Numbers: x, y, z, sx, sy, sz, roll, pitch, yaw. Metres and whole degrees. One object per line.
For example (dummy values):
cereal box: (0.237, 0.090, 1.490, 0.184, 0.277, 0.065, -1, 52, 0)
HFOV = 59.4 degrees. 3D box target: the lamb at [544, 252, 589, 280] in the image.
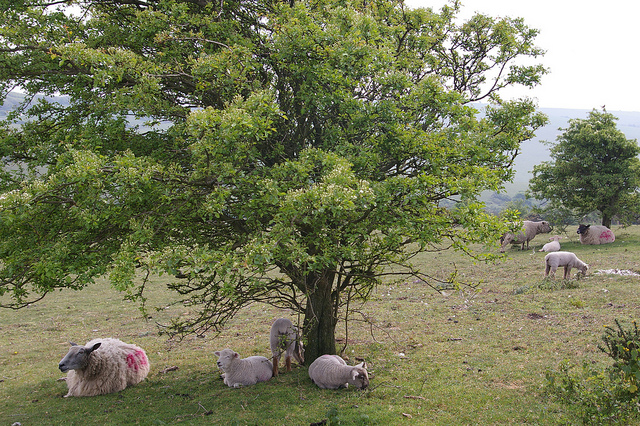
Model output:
lamb: (11.926, 2.573, 27.486, 1.746, 1.346, 1.235, 2, -5, 16)

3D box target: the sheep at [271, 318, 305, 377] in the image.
sheep: (-1.168, 4.852, 20.140, 1.249, 2.081, 2.240, 3, -5, -1)

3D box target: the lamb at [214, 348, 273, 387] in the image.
lamb: (-2.780, 5.572, 20.306, 1.608, 1.295, 2.442, -2, -8, 41)

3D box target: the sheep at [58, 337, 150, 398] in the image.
sheep: (-7.706, 5.522, 20.125, 1.855, 1.186, 2.672, -1, -6, 40)
